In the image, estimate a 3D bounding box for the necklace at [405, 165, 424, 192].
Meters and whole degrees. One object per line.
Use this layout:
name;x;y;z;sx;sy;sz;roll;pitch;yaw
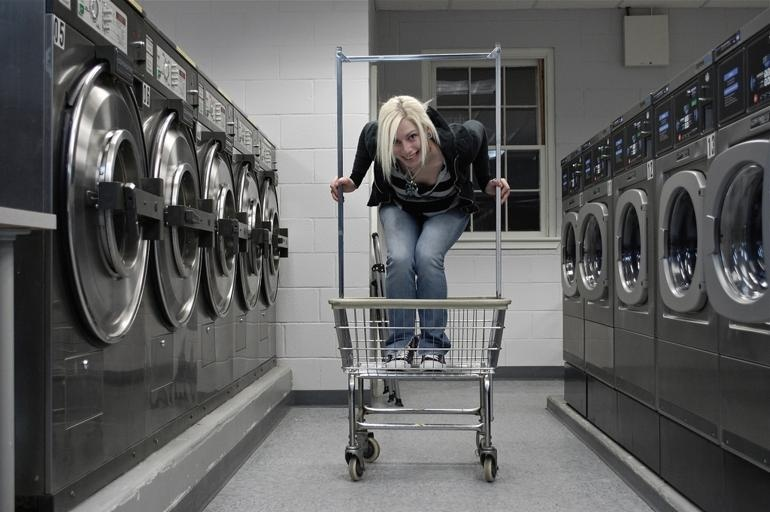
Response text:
necklace;0.146;-0.387;2.845;0.077;0.111;0.048;0;0;-10

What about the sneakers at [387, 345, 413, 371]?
sneakers;0.071;0.525;2.800;0.145;0.136;0.160;0;0;1

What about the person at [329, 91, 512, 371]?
person;0.169;-0.110;2.899;0.865;1.407;0.520;0;0;11
